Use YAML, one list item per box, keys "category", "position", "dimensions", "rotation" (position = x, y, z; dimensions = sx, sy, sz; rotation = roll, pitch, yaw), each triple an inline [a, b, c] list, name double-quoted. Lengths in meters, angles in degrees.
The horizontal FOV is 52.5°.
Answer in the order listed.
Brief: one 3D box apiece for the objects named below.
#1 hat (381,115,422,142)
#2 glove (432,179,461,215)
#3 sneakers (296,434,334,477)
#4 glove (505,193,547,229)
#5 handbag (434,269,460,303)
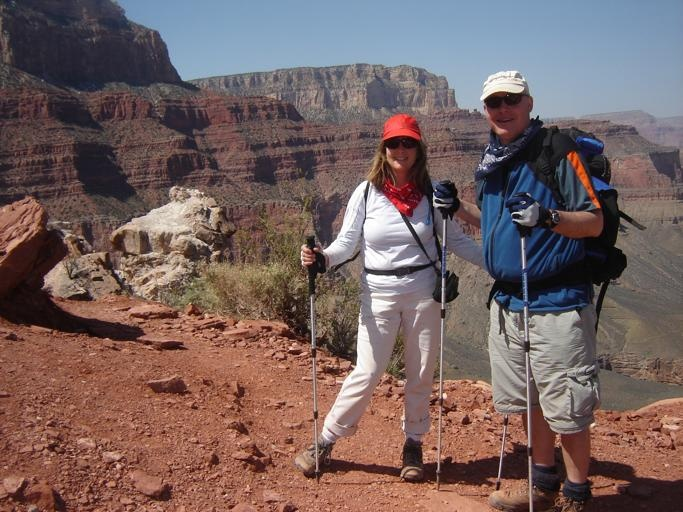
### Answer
- category: "hat"
  position: [0.493, -1.040, 5.667]
  dimensions: [0.312, 0.222, 0.416]
  rotation: [-4, 11, 4]
- category: "glove"
  position: [0.842, -0.462, 5.454]
  dimensions: [0.110, 0.264, 0.201]
  rotation: [-23, 31, -33]
- category: "sneakers"
  position: [-0.204, 1.604, 5.683]
  dimensions: [0.170, 0.213, 0.496]
  rotation: [24, 22, 24]
- category: "glove"
  position: [1.333, -0.319, 5.113]
  dimensions: [0.330, 0.189, 0.431]
  rotation: [-15, -11, 38]
- category: "handbag"
  position: [0.858, 0.256, 5.583]
  dimensions: [0.199, 0.244, 0.257]
  rotation: [4, -15, -2]
